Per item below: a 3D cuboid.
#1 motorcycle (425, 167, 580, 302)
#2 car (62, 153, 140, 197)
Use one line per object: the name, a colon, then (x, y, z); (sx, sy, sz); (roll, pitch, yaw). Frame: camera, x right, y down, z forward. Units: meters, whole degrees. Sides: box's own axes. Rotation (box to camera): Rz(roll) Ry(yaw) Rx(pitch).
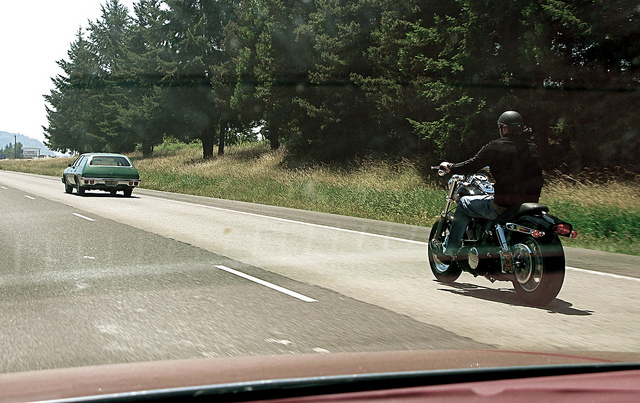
motorcycle: (2.734, 0.552, 8.538); (0.502, 1.835, 2.113); (-2, 5, -33)
car: (-10.841, -1.330, 26.805); (1.994, 1.284, 3.475); (-1, 11, -31)
